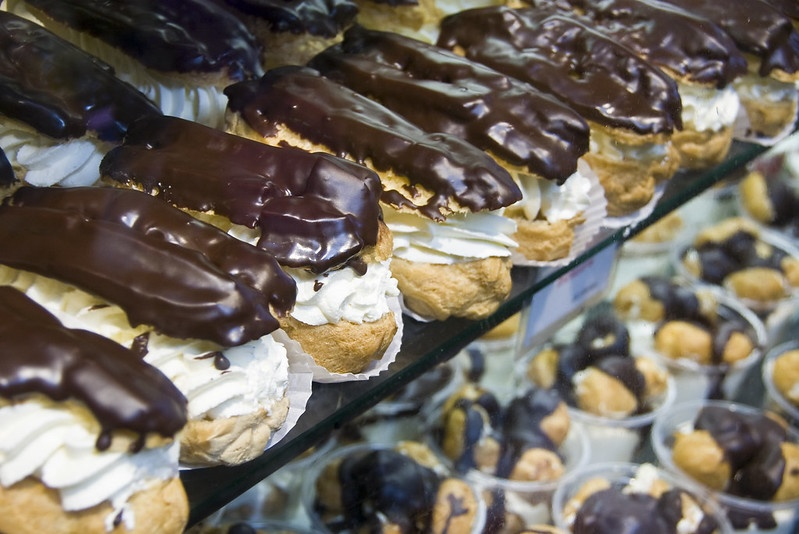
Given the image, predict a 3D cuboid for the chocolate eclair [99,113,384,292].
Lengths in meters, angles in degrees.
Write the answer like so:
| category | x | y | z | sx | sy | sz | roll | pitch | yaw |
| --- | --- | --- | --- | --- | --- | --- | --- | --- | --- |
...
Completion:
| category | x | y | z | sx | sy | sz | roll | pitch | yaw |
| --- | --- | --- | --- | --- | --- | --- | --- | --- | --- |
| chocolate eclair | -0.396 | -0.213 | 2.143 | 0.621 | 0.172 | 0.371 | 19 | 51 | 5 |
